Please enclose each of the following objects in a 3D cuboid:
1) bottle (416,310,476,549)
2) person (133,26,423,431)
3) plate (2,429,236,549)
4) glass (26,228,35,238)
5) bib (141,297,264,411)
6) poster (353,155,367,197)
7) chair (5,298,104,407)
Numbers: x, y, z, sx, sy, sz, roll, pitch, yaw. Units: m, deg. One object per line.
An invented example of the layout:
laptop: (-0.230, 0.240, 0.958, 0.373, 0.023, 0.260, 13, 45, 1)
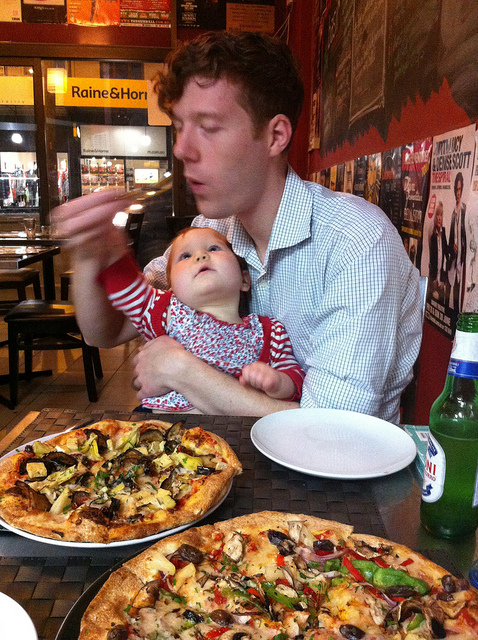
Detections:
bottle: (0.256, 0.117, 0.605, 0.063, 0.276, 0.176, 1, 10, 20)
person: (0.125, -0.208, 1.258, 0.622, 1.030, 0.403, 2, 10, 27)
plate: (-0.170, 0.185, 0.665, 0.269, 0.079, 0.244, -2, 7, -20)
glass: (-1.772, -0.742, 4.103, 0.114, 0.056, 0.158, 0, 20, -14)
bib: (-0.067, 0.048, 1.325, 0.264, 0.223, 0.093, -4, 9, -9)
poster: (0.588, -0.712, 2.395, 0.116, 0.204, 0.018, -16, 24, -41)
chair: (-1.242, 0.058, 3.406, 0.720, 0.872, 0.871, 2, 9, -7)
